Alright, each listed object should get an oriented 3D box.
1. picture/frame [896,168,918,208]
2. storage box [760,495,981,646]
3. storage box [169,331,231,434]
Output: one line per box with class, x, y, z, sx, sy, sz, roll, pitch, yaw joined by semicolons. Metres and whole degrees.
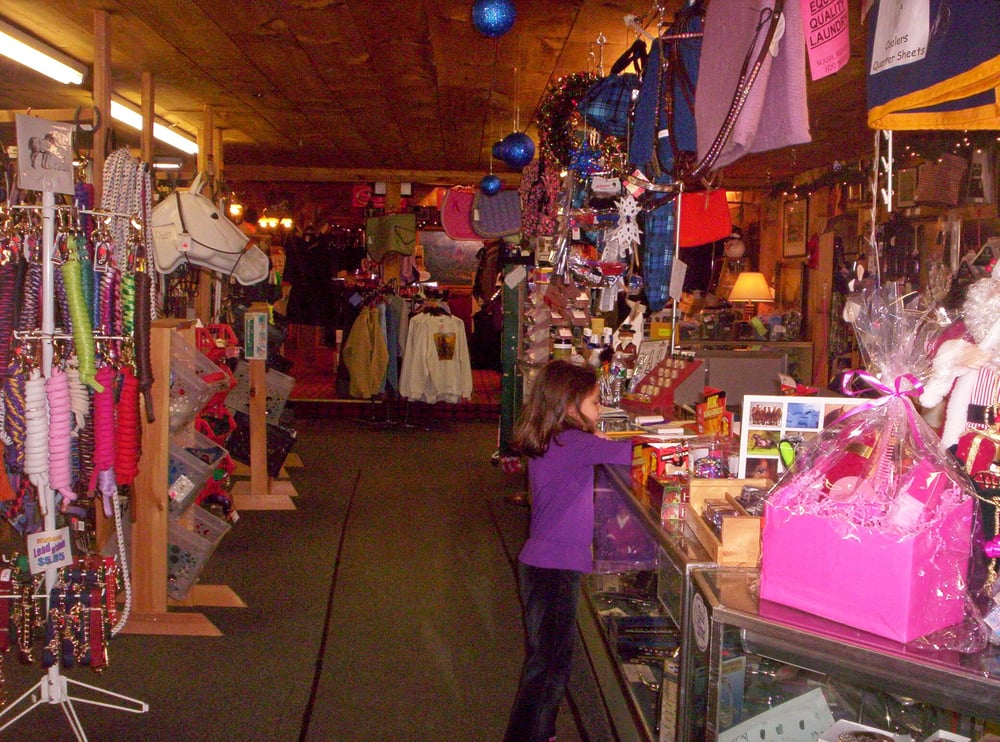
picture/frame;3.069;-1.381;5.929;0.121;0.292;0.918;4;8;25
storage box;0.792;0.346;1.674;0.318;0.207;0.313;-9;15;-41
storage box;-1.548;0.043;4.071;0.236;0.504;0.445;-1;7;-16
